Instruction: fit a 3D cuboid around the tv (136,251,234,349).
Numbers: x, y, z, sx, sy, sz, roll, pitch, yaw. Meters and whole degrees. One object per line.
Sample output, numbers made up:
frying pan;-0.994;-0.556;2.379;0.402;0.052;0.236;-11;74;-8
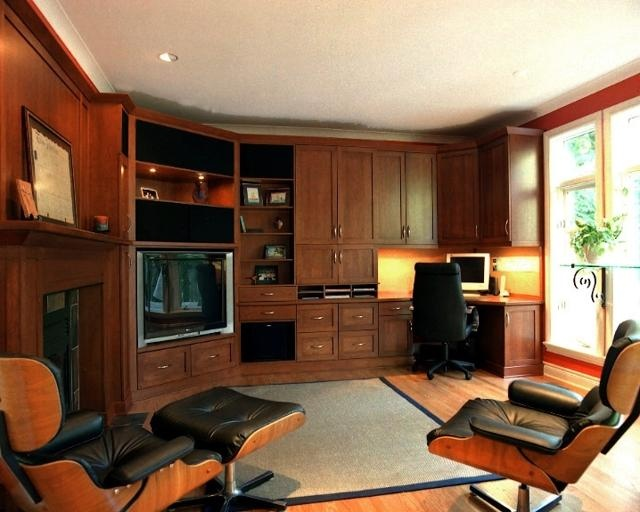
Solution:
tv;-1.346;0.420;4.685;1.152;0.809;0.578;1;-2;-41

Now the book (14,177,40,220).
book;-1.768;-0.336;2.918;0.105;0.234;0.290;-4;7;-29

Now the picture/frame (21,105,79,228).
picture/frame;-1.827;-0.513;3.322;0.748;0.658;0.026;22;25;38

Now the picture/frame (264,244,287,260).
picture/frame;-0.519;-0.038;5.519;0.210;0.122;0.026;1;-10;-14

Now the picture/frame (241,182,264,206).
picture/frame;-0.765;-0.671;5.360;0.310;0.262;0.112;2;-11;-36

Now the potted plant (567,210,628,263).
potted plant;2.523;-0.158;4.451;0.439;0.439;0.259;3;7;31

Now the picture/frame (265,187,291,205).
picture/frame;-0.477;-0.660;5.483;0.242;0.165;0.023;1;-10;-3

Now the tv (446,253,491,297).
tv;1.660;0.185;5.701;0.524;0.427;0.266;1;0;-13

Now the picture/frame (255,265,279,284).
picture/frame;-0.629;0.217;5.563;0.259;0.185;0.024;3;-14;-16
